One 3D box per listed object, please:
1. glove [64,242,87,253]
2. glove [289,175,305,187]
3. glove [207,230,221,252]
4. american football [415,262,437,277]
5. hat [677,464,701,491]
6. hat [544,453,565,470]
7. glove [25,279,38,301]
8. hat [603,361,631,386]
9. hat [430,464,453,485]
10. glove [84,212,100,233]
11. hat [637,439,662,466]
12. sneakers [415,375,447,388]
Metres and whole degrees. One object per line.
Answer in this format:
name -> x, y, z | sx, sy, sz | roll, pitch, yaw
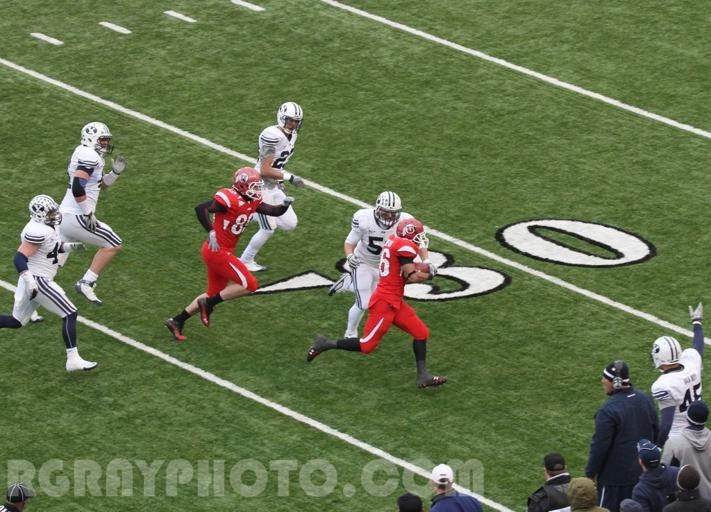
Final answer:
glove -> -3.583, -0.101, 17.747 | 0.236, 0.048, 0.157 | 6, -11, -30
glove -> -0.792, -0.977, 18.500 | 0.172, 0.071, 0.218 | 29, -7, -36
glove -> -1.801, -0.176, 17.519 | 0.087, 0.213, 0.205 | -19, 33, -34
american football -> 0.856, 0.168, 17.018 | 0.281, 0.084, 0.188 | 12, 2, 31
hat -> 3.394, 2.259, 14.280 | 0.319, 0.211, 0.287 | 3, -8, 3
hat -> 2.069, 2.125, 14.490 | 0.216, 0.089, 0.208 | -1, 16, 0
glove -> -3.953, 0.416, 17.024 | 0.121, 0.314, 0.126 | -8, 50, -28
hat -> 2.843, 1.281, 15.119 | 0.424, 0.225, 0.307 | 2, -7, 7
hat -> 0.900, 2.212, 14.320 | 0.230, 0.095, 0.248 | 1, 8, 0
glove -> -3.444, -0.417, 18.217 | 0.217, 0.220, 0.069 | -21, 26, -1
hat -> 3.060, 2.052, 14.607 | 0.280, 0.141, 0.271 | -4, 41, 0
sneakers -> 0.931, 1.543, 17.267 | 0.445, 0.114, 0.127 | -5, 39, -6
